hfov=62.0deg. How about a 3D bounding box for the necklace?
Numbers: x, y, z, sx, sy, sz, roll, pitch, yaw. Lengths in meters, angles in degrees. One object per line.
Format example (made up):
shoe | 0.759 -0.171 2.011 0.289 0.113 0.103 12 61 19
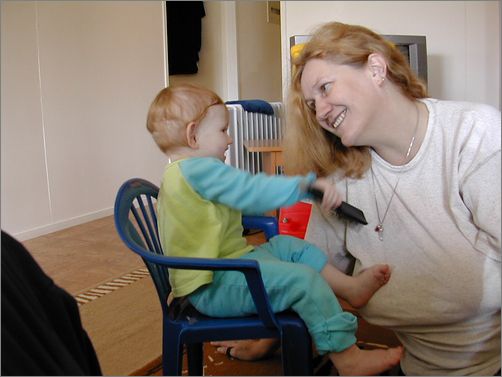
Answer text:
necklace | 0.409 -0.046 1.217 0.020 0.403 0.111 -6 16 -33

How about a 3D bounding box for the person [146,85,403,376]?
person | -0.023 0.108 1.652 0.909 1.075 0.681 -6 2 -3
